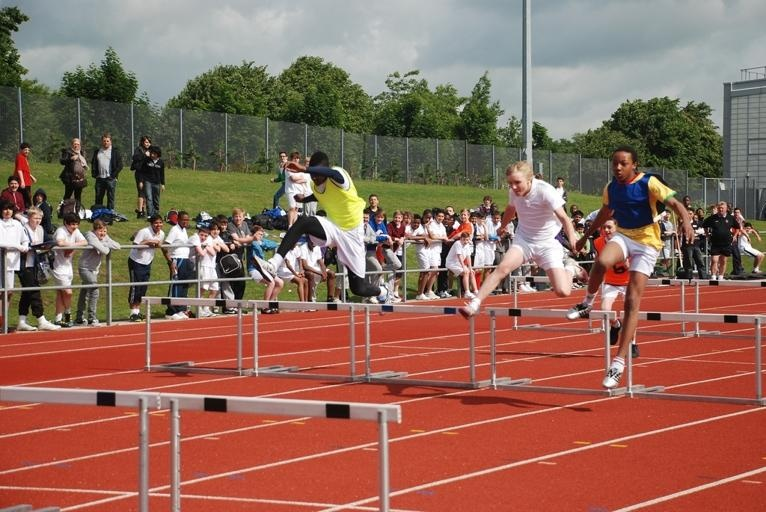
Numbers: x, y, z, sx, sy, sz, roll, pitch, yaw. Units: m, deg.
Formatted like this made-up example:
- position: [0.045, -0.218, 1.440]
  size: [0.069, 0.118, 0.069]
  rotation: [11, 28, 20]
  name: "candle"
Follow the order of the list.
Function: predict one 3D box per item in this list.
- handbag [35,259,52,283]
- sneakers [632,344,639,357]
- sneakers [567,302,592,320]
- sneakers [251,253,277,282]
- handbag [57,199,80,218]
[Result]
- position: [-6.299, 0.299, 19.777]
  size: [0.352, 0.349, 0.259]
  rotation: [-4, -5, 44]
  name: "handbag"
- position: [3.841, 1.464, 16.170]
  size: [0.133, 0.161, 0.404]
  rotation: [-6, -11, 15]
  name: "sneakers"
- position: [2.675, 0.778, 14.640]
  size: [0.435, 0.160, 0.172]
  rotation: [-12, -28, -39]
  name: "sneakers"
- position: [-2.281, 0.230, 20.104]
  size: [0.280, 0.617, 0.201]
  rotation: [-26, -6, -33]
  name: "sneakers"
- position: [-6.926, -1.068, 23.507]
  size: [0.345, 0.489, 0.484]
  rotation: [2, -32, -12]
  name: "handbag"
